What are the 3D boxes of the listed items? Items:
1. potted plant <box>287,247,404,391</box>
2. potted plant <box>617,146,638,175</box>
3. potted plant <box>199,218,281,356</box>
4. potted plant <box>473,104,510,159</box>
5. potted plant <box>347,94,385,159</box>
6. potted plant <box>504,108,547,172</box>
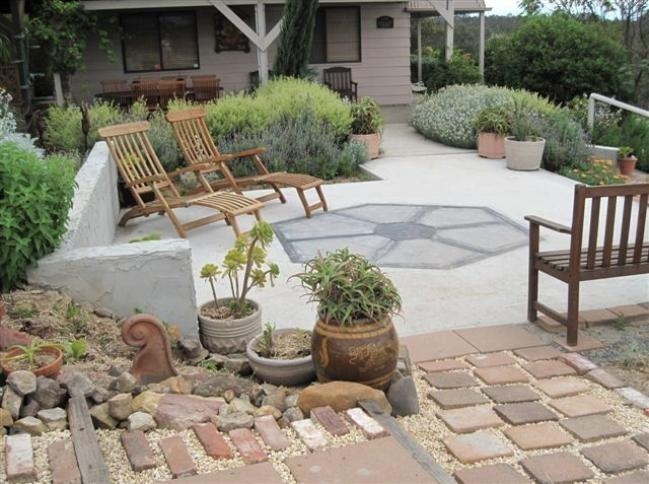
[{"bbox_3d":[0.188,0.508,2.991,0.559,0.843,0.580,-3,13,4],"label":"potted plant"},{"bbox_3d":[6.251,-1.673,10.060,0.326,0.558,0.333,8,19,29],"label":"potted plant"},{"bbox_3d":[-0.659,0.340,3.650,0.565,1.007,0.454,-1,6,-27],"label":"potted plant"},{"bbox_3d":[3.388,-2.260,9.892,0.843,1.032,1.018,5,15,20],"label":"potted plant"},{"bbox_3d":[0.846,-2.295,9.828,0.627,1.201,1.240,0,17,5],"label":"potted plant"},{"bbox_3d":[3.580,-1.709,8.850,0.667,0.973,0.691,-10,-5,39],"label":"potted plant"}]
